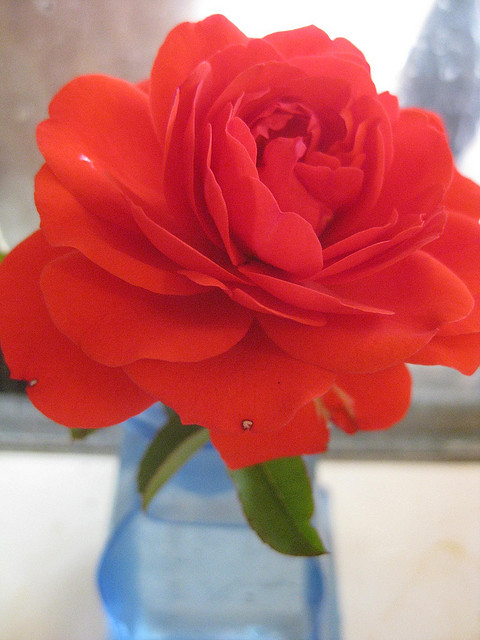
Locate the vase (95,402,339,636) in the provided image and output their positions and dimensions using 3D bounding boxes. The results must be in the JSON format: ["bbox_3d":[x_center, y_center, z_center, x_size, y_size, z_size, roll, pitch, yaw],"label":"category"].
[{"bbox_3d":[-0.011,0.117,0.441,0.144,0.148,0.106,-1,29,-1],"label":"vase"}]
